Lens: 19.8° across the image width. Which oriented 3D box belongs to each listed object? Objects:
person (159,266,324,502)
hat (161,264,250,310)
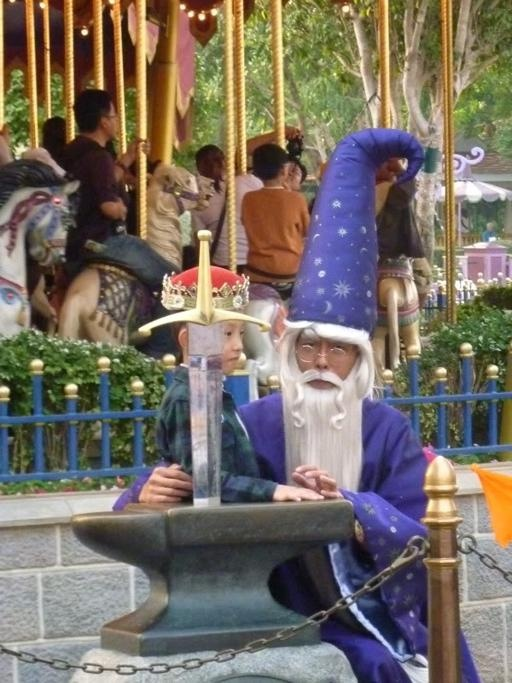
[{"bbox_3d":[-0.018,0.151,4.753,0.561,0.776,0.473,-4,5,23],"label":"person"},{"bbox_3d":[-0.164,-0.172,4.708,0.272,0.147,0.328,0,2,-2],"label":"hat"}]
